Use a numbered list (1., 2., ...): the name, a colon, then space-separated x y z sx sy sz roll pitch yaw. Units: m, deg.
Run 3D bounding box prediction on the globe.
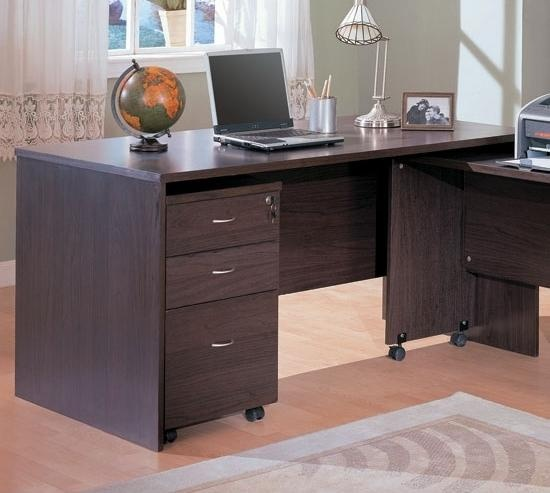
1. globe: -0.426 -0.467 1.754 0.233 0.311 0.237 -3 6 -24
